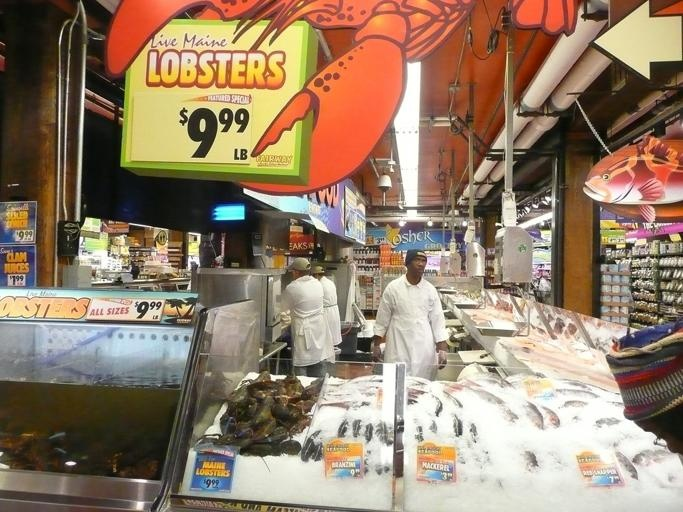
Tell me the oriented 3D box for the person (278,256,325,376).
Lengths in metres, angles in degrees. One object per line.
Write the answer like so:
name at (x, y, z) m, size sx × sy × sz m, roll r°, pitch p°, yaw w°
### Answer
person at (-0.407, 0.617, 5.290) m, size 0.573 × 1.170 × 0.430 m, roll 2°, pitch -4°, yaw -14°

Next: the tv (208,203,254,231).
tv at (-1.313, -0.442, 5.636) m, size 0.547 × 0.313 × 0.378 m, roll 2°, pitch 1°, yaw 7°

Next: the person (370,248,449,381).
person at (0.666, 0.501, 4.439) m, size 0.723 × 1.135 × 2.403 m, roll 1°, pitch -5°, yaw 4°

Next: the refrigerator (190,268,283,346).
refrigerator at (-1.030, 0.486, 4.562) m, size 0.691 × 0.769 × 0.867 m, roll 1°, pitch -4°, yaw 3°

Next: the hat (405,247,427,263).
hat at (0.699, -0.013, 4.536) m, size 0.151 × 0.117 × 0.145 m, roll -16°, pitch -20°, yaw 42°

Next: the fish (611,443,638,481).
fish at (1.148, 0.840, 1.901) m, size 0.081 × 0.104 × 0.036 m, roll -1°, pitch -5°, yaw 25°

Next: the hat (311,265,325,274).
hat at (-0.293, 0.175, 6.021) m, size 0.142 × 0.107 × 0.233 m, roll 7°, pitch -4°, yaw -2°

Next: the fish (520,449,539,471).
fish at (0.772, 0.836, 1.930) m, size 0.044 × 0.064 × 0.019 m, roll -10°, pitch -45°, yaw -2°

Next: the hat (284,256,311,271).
hat at (-0.501, 0.107, 5.340) m, size 0.251 × 0.145 × 0.166 m, roll -5°, pitch 10°, yaw 29°
